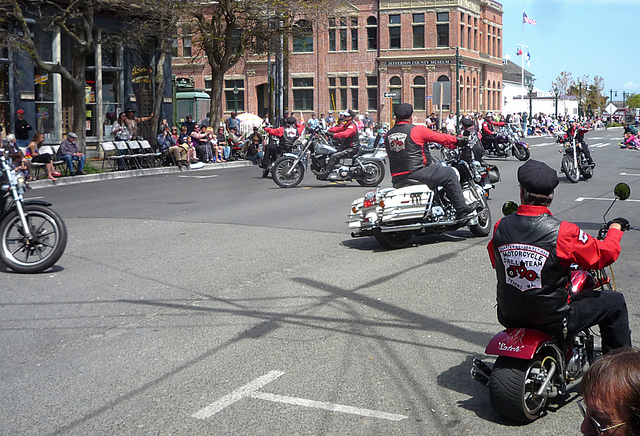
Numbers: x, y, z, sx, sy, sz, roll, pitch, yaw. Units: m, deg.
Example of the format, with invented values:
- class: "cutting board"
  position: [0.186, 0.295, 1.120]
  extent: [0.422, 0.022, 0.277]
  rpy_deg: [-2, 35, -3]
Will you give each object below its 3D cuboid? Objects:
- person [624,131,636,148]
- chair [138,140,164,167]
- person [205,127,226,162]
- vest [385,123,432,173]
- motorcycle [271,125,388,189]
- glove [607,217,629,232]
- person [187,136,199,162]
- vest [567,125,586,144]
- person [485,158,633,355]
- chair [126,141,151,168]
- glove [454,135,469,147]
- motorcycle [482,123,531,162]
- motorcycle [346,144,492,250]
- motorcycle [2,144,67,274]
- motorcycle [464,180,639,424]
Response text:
- class: "person"
  position: [20.198, -5.056, 36.012]
  extent: [0.613, 1.142, 0.497]
  rpy_deg: [1, -1, -6]
- class: "chair"
  position: [-7.537, -2.889, 24.662]
  extent: [1.021, 1.381, 0.822]
  rpy_deg: [28, 26, 27]
- class: "person"
  position: [-5.160, -3.610, 27.559]
  extent: [0.793, 1.595, 1.078]
  rpy_deg: [-2, 10, -9]
- class: "vest"
  position: [1.571, -1.303, 10.188]
  extent: [0.789, 0.956, 0.730]
  rpy_deg: [-6, 13, 3]
- class: "motorcycle"
  position: [0.403, -1.990, 18.668]
  extent: [3.708, 2.069, 1.872]
  rpy_deg: [2, 5, 6]
- class: "glove"
  position: [2.388, 0.057, 4.385]
  extent: [0.147, 0.061, 0.117]
  rpy_deg: [-1, 1, -26]
- class: "person"
  position: [-5.988, -3.205, 25.992]
  extent: [0.450, 1.109, 1.104]
  rpy_deg: [-2, 10, -10]
- class: "vest"
  position: [9.072, -2.902, 19.383]
  extent: [1.008, 0.670, 0.347]
  rpy_deg: [-9, 13, -40]
- class: "person"
  position: [1.914, 0.367, 4.347]
  extent: [1.017, 1.575, 0.476]
  rpy_deg: [-1, 9, -5]
- class: "chair"
  position: [-7.606, -2.861, 23.862]
  extent: [0.754, 1.285, 0.968]
  rpy_deg: [-11, 19, -37]
- class: "glove"
  position: [2.667, -1.427, 10.342]
  extent: [0.244, 0.112, 0.245]
  rpy_deg: [-6, 7, -6]
- class: "motorcycle"
  position: [9.828, -3.820, 28.510]
  extent: [2.808, 1.691, 1.609]
  rpy_deg: [4, 12, 26]
- class: "motorcycle"
  position: [2.092, -0.495, 10.432]
  extent: [3.154, 1.851, 1.461]
  rpy_deg: [-9, 3, -29]
- class: "motorcycle"
  position: [-4.436, -0.081, 8.396]
  extent: [1.187, 1.822, 0.585]
  rpy_deg: [4, 10, 26]
- class: "motorcycle"
  position: [2.019, 0.795, 4.998]
  extent: [1.103, 1.672, 2.258]
  rpy_deg: [1, 14, 34]
